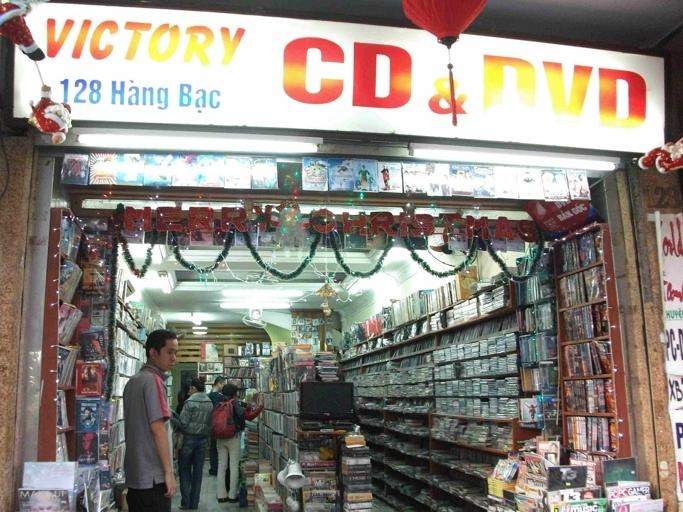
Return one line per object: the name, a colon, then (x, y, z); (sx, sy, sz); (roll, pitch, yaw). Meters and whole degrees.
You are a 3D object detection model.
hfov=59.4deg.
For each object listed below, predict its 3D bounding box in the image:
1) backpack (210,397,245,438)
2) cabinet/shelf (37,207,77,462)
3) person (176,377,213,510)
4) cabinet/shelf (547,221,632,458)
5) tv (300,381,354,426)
backpack: (-1.783, 2.584, 9.419); (0.436, 0.627, 0.582); (-3, -25, 3)
cabinet/shelf: (-2.234, 0.580, 4.619); (0.142, 1.922, 0.249); (0, -15, -4)
person: (-2.233, 2.935, 9.032); (0.489, 1.700, 0.358); (1, -15, -9)
cabinet/shelf: (2.191, 0.758, 5.358); (0.201, 1.976, 0.776); (7, -17, -27)
tv: (-0.183, 1.707, 6.884); (0.504, 0.371, 0.149); (1, -8, -7)
